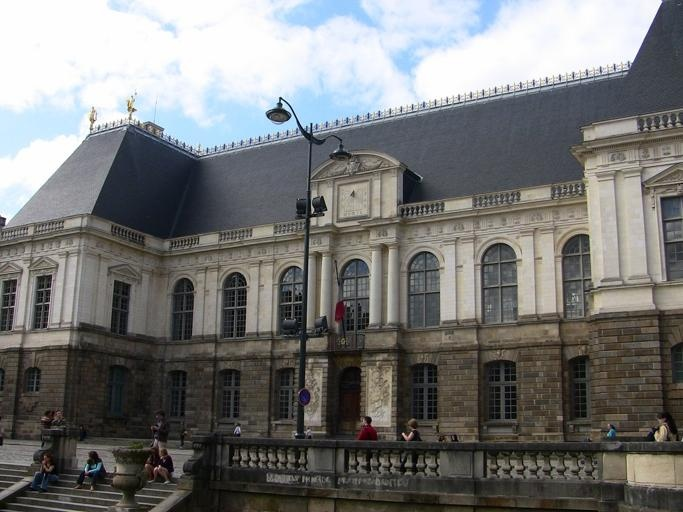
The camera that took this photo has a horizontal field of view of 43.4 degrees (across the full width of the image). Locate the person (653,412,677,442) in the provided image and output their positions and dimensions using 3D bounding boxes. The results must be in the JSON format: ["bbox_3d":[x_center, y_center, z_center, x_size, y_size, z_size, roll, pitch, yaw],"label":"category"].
[{"bbox_3d":[10.516,5.535,27.750,0.663,0.997,2.829,-6,-16,19],"label":"person"}]

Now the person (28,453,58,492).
[{"bbox_3d":[-11.756,8.586,33.935,0.951,1.504,0.532,6,-16,-28],"label":"person"}]

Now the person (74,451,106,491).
[{"bbox_3d":[-9.777,8.368,33.335,1.051,1.507,0.687,-10,-17,30],"label":"person"}]
